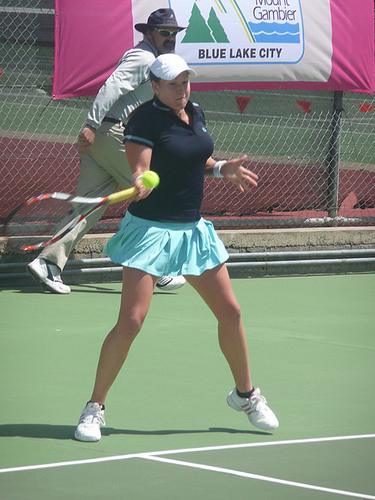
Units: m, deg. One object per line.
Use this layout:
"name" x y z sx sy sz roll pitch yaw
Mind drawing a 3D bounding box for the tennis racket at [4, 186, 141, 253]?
"tennis racket" -0.986 -0.222 4.009 0.151 0.469 1.875 -1 -6 -38

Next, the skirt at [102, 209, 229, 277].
"skirt" -0.095 -0.048 2.342 0.519 0.247 0.287 -6 16 -17

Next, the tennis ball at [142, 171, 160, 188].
"tennis ball" -0.137 -0.263 2.130 0.068 0.059 0.057 4 -16 -15
